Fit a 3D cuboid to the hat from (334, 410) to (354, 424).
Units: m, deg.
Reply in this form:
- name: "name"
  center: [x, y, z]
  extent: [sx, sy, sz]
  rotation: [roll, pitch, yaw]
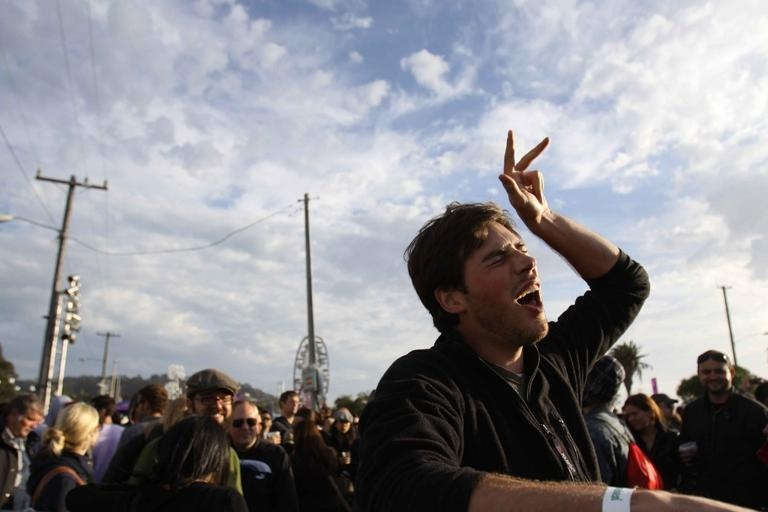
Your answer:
- name: "hat"
  center: [-0.893, 3.420, 10.818]
  extent: [0.346, 0.170, 0.347]
  rotation: [5, -12, -17]
